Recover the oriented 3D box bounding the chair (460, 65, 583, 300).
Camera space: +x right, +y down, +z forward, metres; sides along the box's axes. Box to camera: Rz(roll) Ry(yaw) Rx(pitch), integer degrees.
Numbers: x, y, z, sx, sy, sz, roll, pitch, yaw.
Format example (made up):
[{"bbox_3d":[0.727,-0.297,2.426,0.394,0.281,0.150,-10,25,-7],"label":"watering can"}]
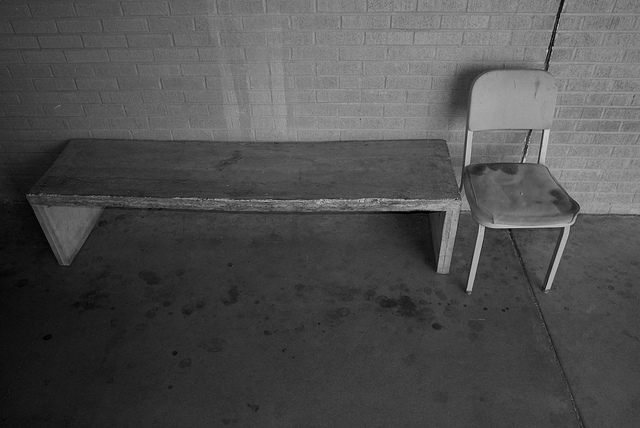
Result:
[{"bbox_3d":[1.452,-0.256,2.787,0.875,1.442,1.087,8,31,14],"label":"chair"}]
